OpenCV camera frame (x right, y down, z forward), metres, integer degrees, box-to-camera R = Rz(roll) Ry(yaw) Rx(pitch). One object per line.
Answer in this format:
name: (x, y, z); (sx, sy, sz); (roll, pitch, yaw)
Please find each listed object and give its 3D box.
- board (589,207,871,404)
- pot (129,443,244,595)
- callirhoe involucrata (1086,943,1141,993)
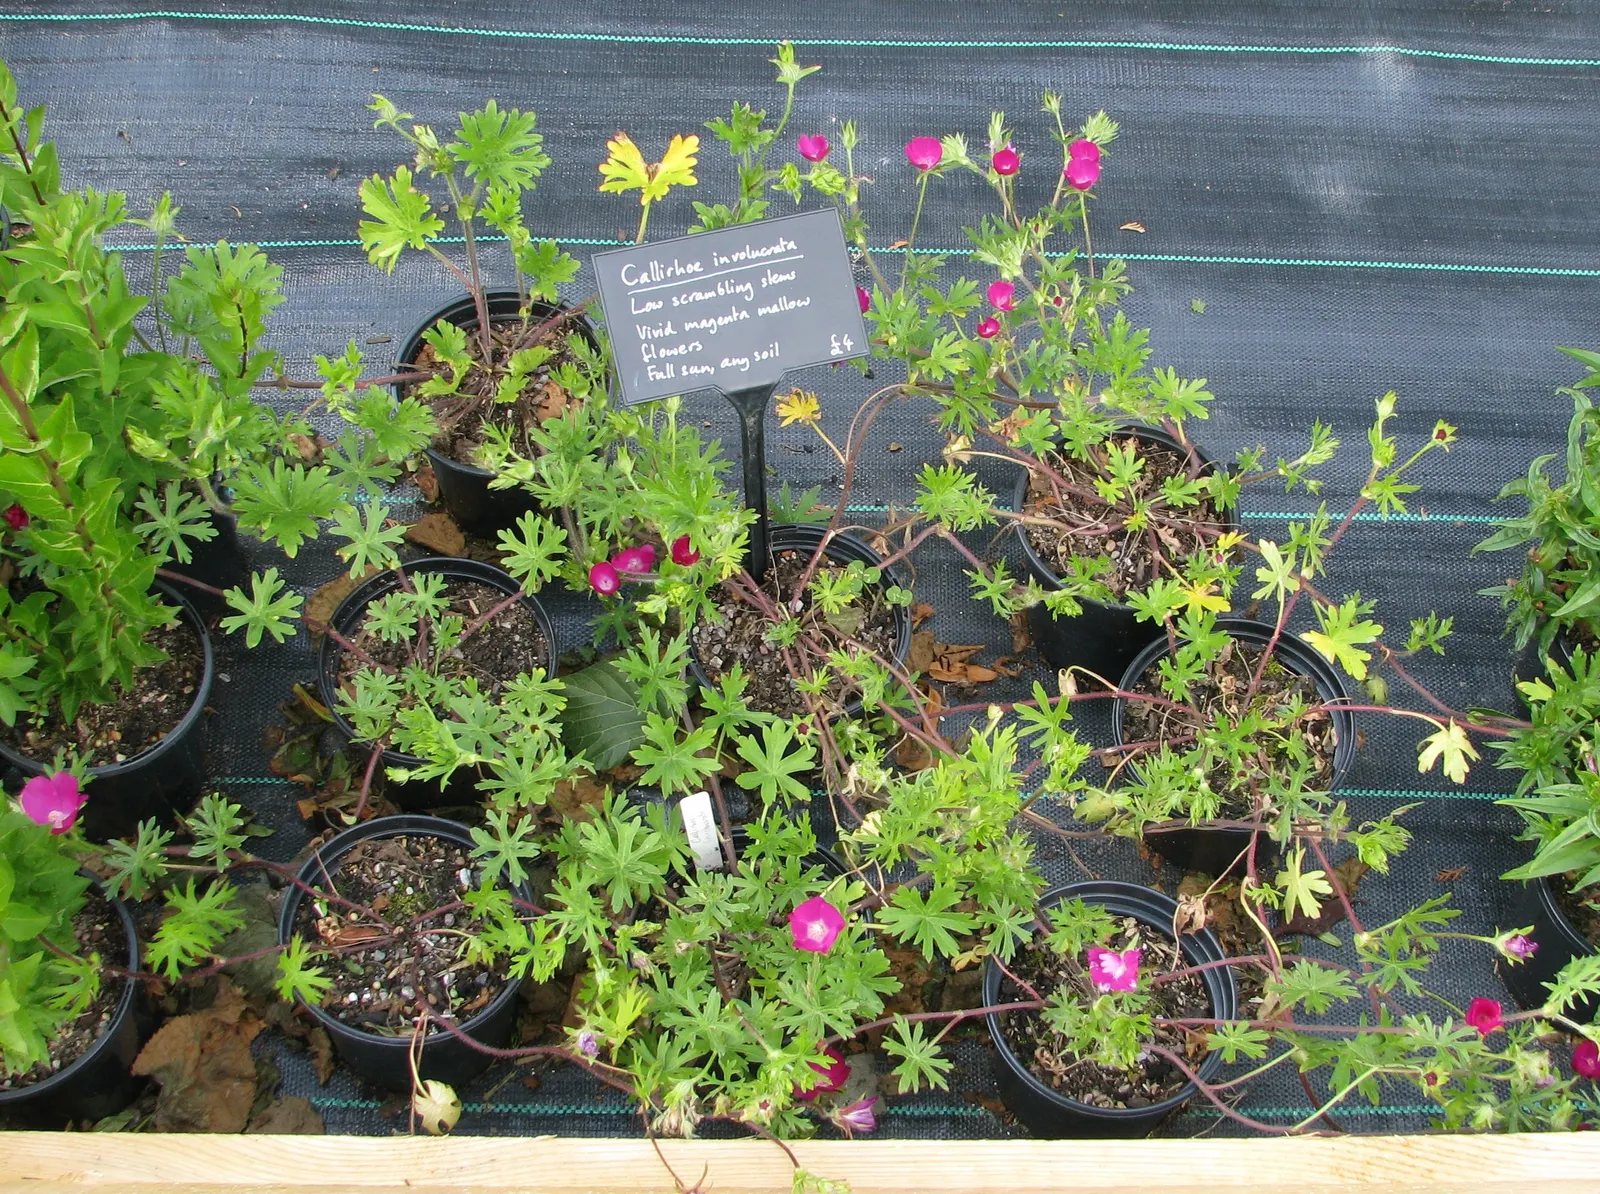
board: (-0.120, -0.556, 2.644); (0.495, 0.337, 0.019); (-14, 0, -7)
pot: (-1.327, -0.140, 3.063); (0.201, 0.315, 0.188); (-4, 38, 3)
callirhoe involucrata: (0.552, 0.661, 2.441); (0.090, 0.045, 0.091); (-27, 83, -7)
